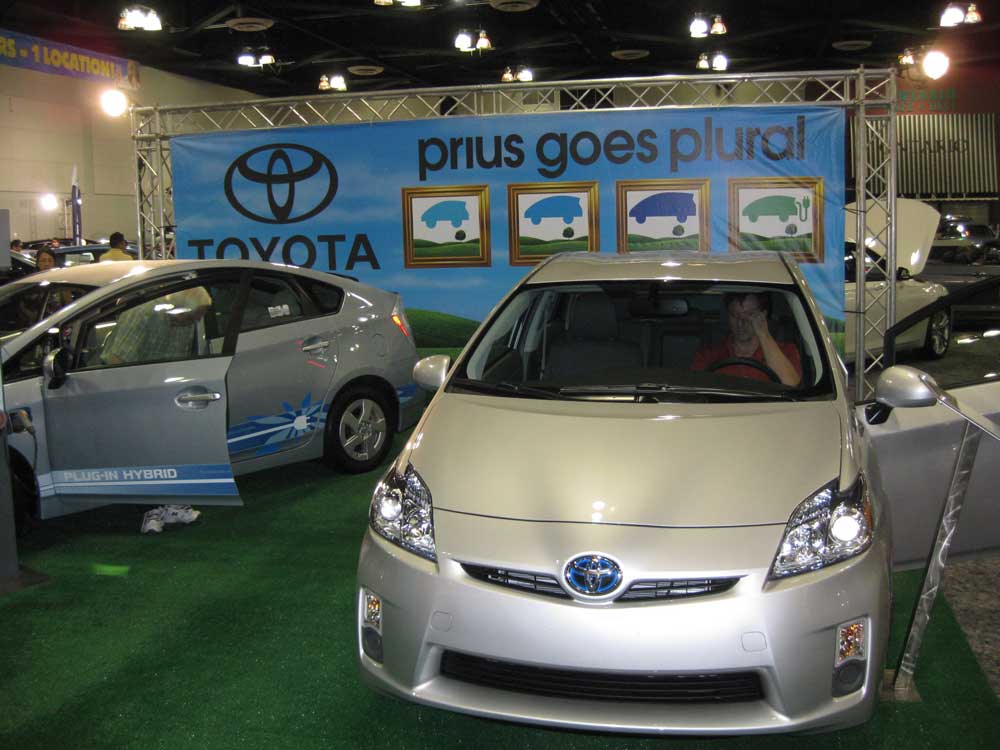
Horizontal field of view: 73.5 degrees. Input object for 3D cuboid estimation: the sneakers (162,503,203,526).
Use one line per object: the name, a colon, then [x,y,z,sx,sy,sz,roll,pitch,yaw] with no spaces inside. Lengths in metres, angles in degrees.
sneakers: [-2.275,0.982,4.786,0.225,0.102,0.244,1,6,-4]

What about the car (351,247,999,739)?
car: [0.962,0.147,3.620,1.937,1.652,3.638,0,10,23]

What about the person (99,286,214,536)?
person: [-2.313,0.200,4.786,0.801,1.550,0.479,2,7,8]
